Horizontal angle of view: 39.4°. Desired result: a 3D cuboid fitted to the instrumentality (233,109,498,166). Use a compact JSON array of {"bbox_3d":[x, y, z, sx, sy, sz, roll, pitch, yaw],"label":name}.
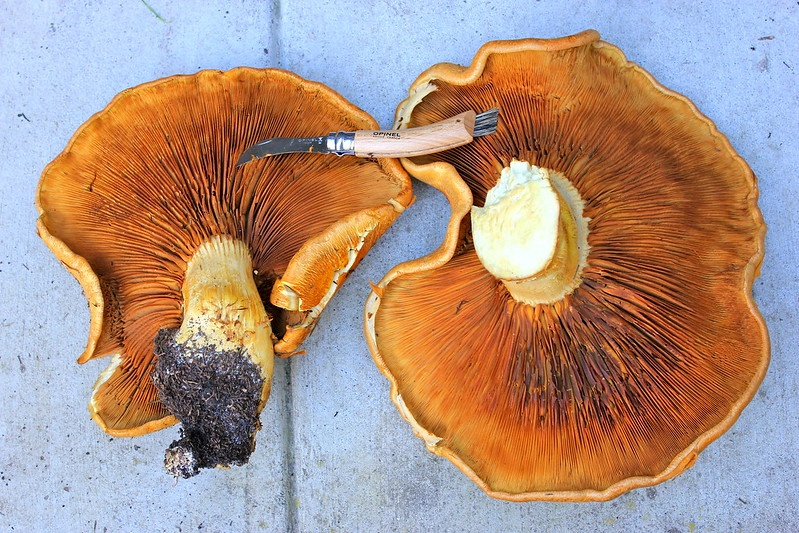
[{"bbox_3d":[-0.147,-0.575,4.920,0.906,0.132,0.217,-3,64,5],"label":"instrumentality"}]
